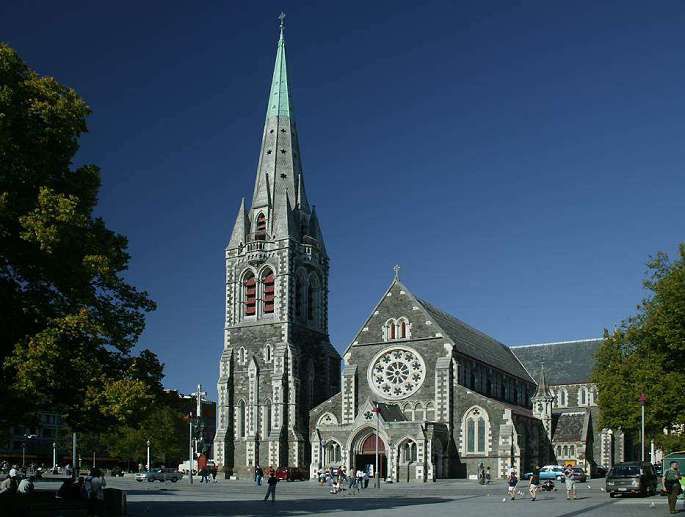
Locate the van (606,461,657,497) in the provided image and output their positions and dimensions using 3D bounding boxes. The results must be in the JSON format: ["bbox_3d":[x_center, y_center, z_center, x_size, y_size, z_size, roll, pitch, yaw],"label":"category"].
[{"bbox_3d":[17.692,13.488,61.731,1.917,1.637,3.376,-8,-20,22],"label":"van"}]

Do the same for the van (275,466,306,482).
[{"bbox_3d":[-4.425,18.783,88.555,1.733,1.132,3.241,-14,-24,38],"label":"van"}]

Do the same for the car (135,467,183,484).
[{"bbox_3d":[-16.133,18.951,88.363,3.483,1.609,3.291,-2,-19,-3],"label":"car"}]
